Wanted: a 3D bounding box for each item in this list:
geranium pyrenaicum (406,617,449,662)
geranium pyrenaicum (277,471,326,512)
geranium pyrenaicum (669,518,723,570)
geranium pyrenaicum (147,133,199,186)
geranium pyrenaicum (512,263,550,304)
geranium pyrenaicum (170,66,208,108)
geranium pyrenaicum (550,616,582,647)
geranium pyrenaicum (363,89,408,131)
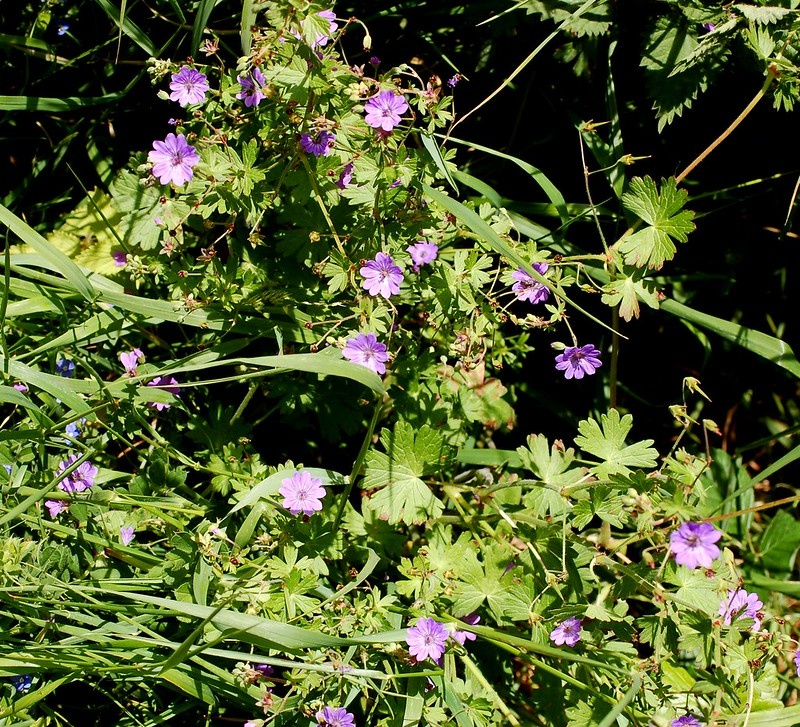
[{"bbox_3d":[0.080,0.843,2.517,0.115,0.054,0.138,4,82,-9],"label":"geranium pyrenaicum"},{"bbox_3d":[-0.311,0.403,2.576,0.134,0.087,0.113,2,55,6],"label":"geranium pyrenaicum"},{"bbox_3d":[0.818,0.500,2.281,0.118,0.058,0.141,-8,82,16],"label":"geranium pyrenaicum"},{"bbox_3d":[-0.705,-0.628,2.528,0.141,0.067,0.171,-8,93,-10],"label":"geranium pyrenaicum"},{"bbox_3d":[0.442,-0.281,2.768,0.124,0.129,0.063,34,21,7],"label":"geranium pyrenaicum"},{"bbox_3d":[-0.681,-0.874,2.634,0.118,0.137,0.063,-28,19,-14],"label":"geranium pyrenaicum"},{"bbox_3d":[0.522,0.846,2.576,0.087,0.092,0.032,-2,10,1],"label":"geranium pyrenaicum"},{"bbox_3d":[-0.046,-0.759,2.519,0.131,0.134,0.095,-4,53,1],"label":"geranium pyrenaicum"}]
